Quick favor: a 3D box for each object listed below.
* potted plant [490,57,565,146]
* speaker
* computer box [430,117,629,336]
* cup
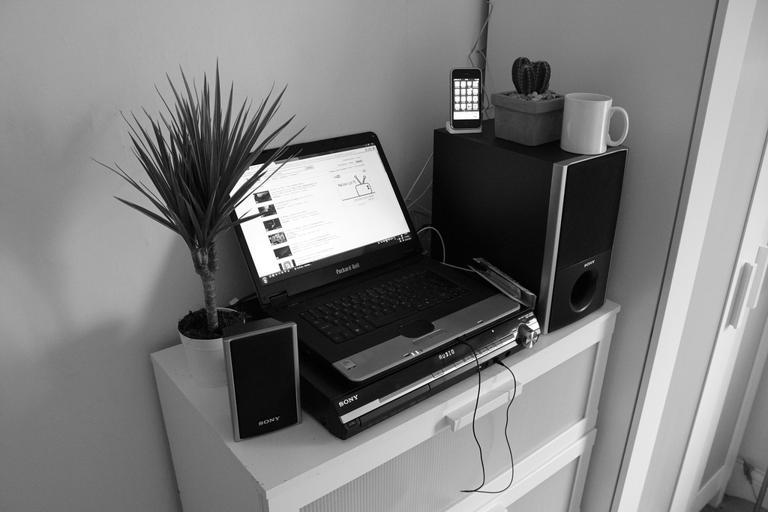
[{"bbox_3d":[0.388,-0.417,1.572,0.190,0.216,0.122,3,26,16],"label":"potted plant"},{"bbox_3d":[-0.285,0.243,1.308,0.183,0.302,0.162,-11,34,-24],"label":"speaker"},{"bbox_3d":[0.430,-0.108,1.718,0.279,0.469,0.441,-16,28,-25],"label":"computer box"},{"bbox_3d":[0.570,-0.358,1.552,0.236,0.147,0.152,-21,30,-30],"label":"cup"}]
